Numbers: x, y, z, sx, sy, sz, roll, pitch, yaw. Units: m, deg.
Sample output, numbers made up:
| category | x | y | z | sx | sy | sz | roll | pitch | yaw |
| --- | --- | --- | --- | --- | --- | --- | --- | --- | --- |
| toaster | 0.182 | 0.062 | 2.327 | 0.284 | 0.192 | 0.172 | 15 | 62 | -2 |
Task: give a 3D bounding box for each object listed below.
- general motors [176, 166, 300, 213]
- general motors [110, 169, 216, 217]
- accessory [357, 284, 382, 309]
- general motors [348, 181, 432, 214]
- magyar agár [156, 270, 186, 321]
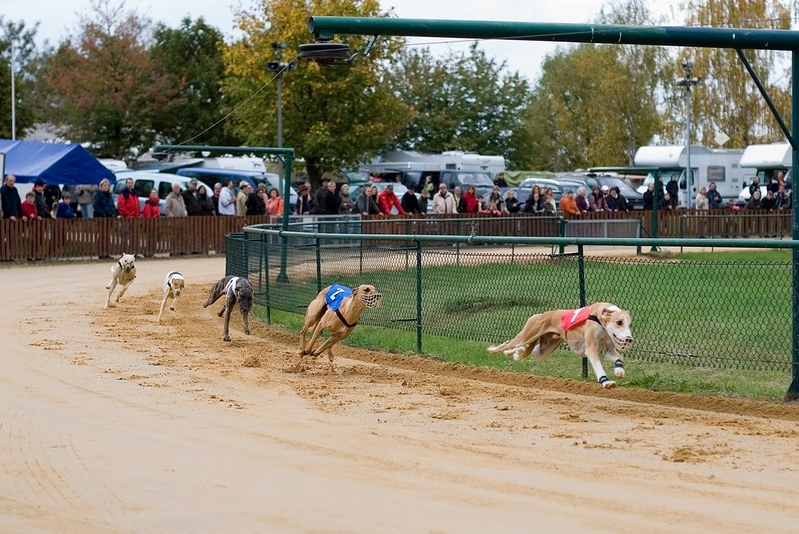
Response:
| category | x | y | z | sx | sy | sz | roll | pitch | yaw |
| --- | --- | --- | --- | --- | --- | --- | --- | --- | --- |
| general motors | -5.895 | -2.920 | 40.703 | 3.489 | 1.405 | 2.078 | 2 | 2 | 41 |
| general motors | -7.774 | -2.679 | 38.750 | 3.047 | 1.561 | 1.966 | -1 | 2 | 29 |
| accessory | -0.456 | 0.448 | 18.210 | 0.271 | 0.237 | 0.366 | 10 | 1 | -40 |
| general motors | 0.069 | -2.285 | 43.732 | 3.058 | 1.122 | 1.463 | 5 | 6 | 18 |
| magyar agár | -4.311 | 0.474 | 23.246 | 0.338 | 0.784 | 1.458 | 12 | -5 | -15 |
